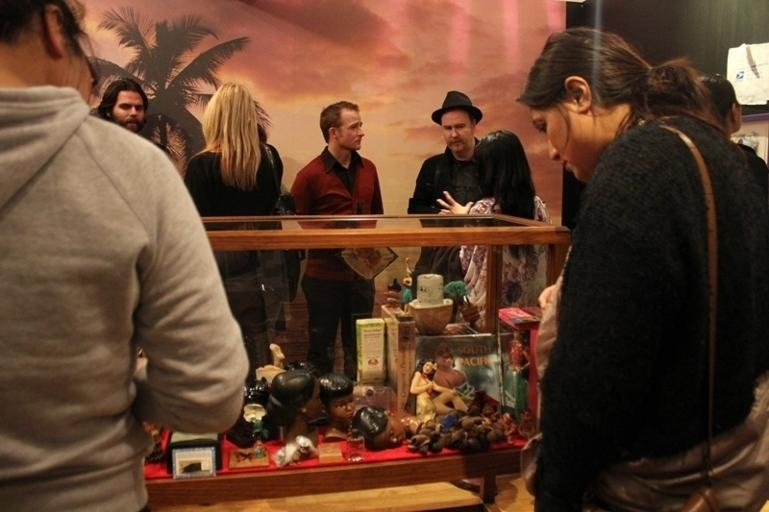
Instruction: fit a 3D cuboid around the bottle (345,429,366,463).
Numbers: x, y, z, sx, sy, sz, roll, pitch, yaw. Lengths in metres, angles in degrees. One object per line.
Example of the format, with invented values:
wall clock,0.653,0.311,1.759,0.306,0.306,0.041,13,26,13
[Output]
bottle,-0.105,0.653,2.192,0.093,0.095,0.088,-2,11,-9
